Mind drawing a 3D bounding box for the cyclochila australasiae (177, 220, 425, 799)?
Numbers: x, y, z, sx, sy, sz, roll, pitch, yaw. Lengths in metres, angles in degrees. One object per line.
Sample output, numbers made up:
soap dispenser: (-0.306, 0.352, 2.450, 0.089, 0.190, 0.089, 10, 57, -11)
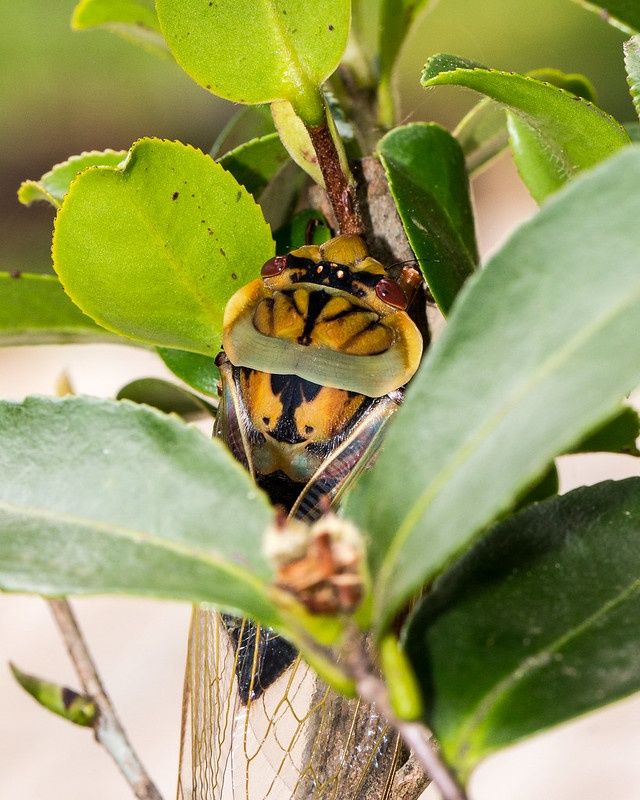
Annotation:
cyclochila australasiae: (-0.001, 0.044, 0.744, 0.169, 0.459, 0.150, 12, 7, 15)
